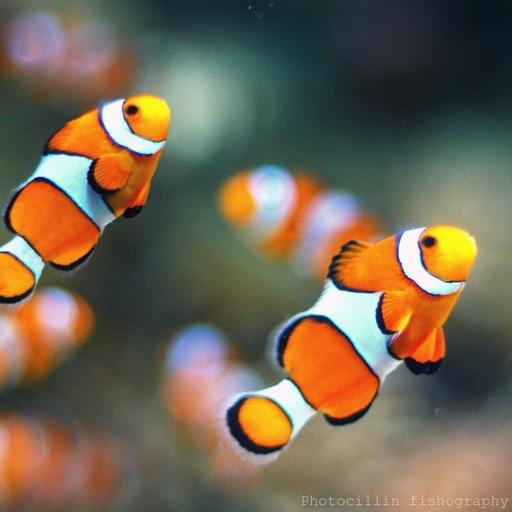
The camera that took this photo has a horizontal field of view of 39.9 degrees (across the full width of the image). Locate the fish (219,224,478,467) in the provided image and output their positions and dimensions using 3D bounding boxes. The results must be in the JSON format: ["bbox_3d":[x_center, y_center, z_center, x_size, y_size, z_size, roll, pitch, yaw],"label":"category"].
[{"bbox_3d":[0.182,0.190,1.513,0.424,0.630,0.144,17,11,13],"label":"fish"}]
